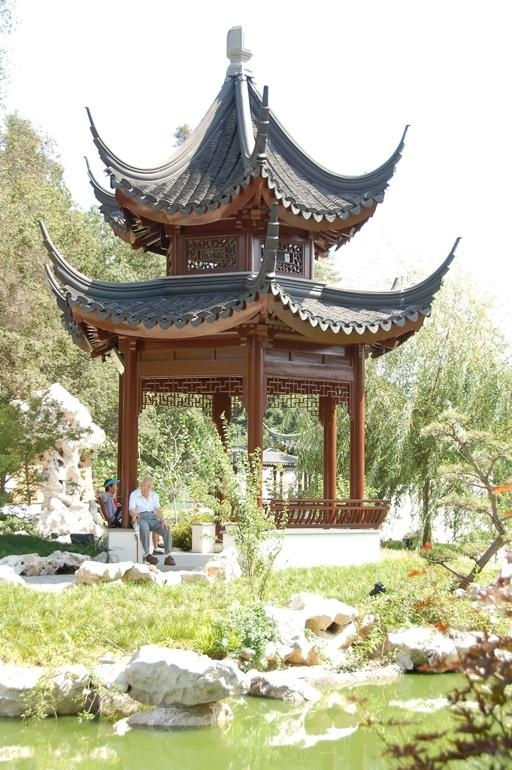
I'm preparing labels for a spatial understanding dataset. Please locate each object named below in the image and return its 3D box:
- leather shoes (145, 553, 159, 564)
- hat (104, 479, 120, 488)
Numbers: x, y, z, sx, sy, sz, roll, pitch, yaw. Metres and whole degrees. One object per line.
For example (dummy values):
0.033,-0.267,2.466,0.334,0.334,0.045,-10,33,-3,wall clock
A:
-1.178,1.951,9.681,0.082,0.088,0.200,0,5,-4,leather shoes
-1.869,1.300,11.120,0.177,0.063,0.115,-19,12,-2,hat
